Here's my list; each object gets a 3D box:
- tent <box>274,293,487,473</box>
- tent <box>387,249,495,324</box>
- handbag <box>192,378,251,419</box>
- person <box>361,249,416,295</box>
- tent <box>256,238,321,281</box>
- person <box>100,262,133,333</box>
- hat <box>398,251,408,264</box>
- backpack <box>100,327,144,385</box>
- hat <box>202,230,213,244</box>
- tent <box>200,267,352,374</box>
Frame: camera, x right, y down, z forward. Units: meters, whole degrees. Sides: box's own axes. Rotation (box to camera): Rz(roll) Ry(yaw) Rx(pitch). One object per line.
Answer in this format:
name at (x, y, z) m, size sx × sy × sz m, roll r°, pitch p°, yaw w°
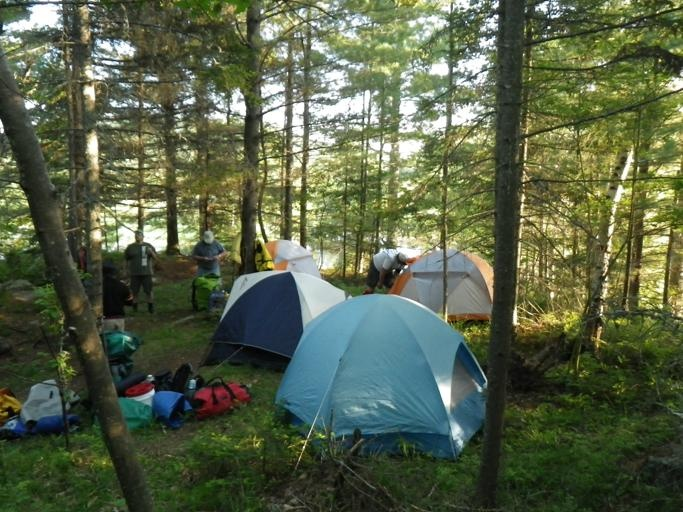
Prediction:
tent at (0.718, 2.028, 11.305) m, size 3.048 × 1.395 × 2.843 m, roll 6°, pitch 14°, yaw 10°
tent at (2.610, 0.706, 16.860) m, size 1.937 × 1.177 × 1.935 m, roll 1°, pitch 2°, yaw 29°
handbag at (-2.126, 2.494, 12.130) m, size 0.947 × 0.494 × 0.547 m, roll -5°, pitch 8°, yaw -44°
person at (1.217, 0.483, 18.745) m, size 1.270 × 1.306 × 0.817 m, roll 14°, pitch 13°, yaw 20°
tent at (-1.248, -0.087, 19.830) m, size 1.363 × 1.320 × 0.456 m, roll -18°, pitch -4°, yaw -38°
person at (-4.667, 0.838, 14.243) m, size 0.572 × 1.399 × 0.746 m, roll 0°, pitch 6°, yaw -17°
hat at (1.646, 0.020, 18.549) m, size 0.237 × 0.391 × 0.413 m, roll -9°, pitch 23°, yaw -1°
backpack at (-4.062, 1.867, 12.638) m, size 0.266 × 0.879 × 0.699 m, roll 3°, pitch 0°, yaw 35°
hat at (-3.375, -0.478, 17.362) m, size 0.252 × 0.333 × 0.505 m, roll 1°, pitch 5°, yaw -12°
tent at (-1.510, 1.279, 13.777) m, size 2.136 × 0.962 × 2.274 m, roll 7°, pitch 21°, yaw 13°
